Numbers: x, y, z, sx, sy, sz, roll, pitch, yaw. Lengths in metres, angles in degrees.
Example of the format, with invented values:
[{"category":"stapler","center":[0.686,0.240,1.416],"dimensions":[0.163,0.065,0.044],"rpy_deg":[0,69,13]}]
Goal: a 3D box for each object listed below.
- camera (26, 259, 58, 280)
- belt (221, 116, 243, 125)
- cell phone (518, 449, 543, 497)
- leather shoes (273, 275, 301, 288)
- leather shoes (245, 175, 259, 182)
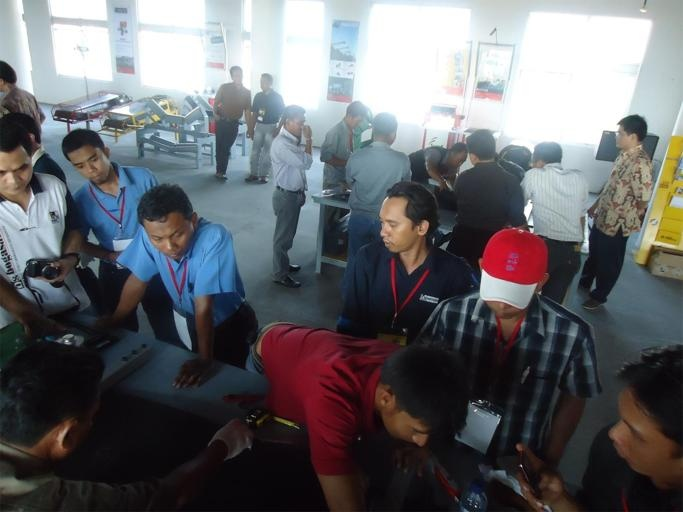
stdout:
[{"category":"camera","center":[-1.532,0.034,2.464],"dimensions":[0.145,0.092,0.100],"rpy_deg":[-3,12,-36]},{"category":"belt","center":[-1.719,-2.139,7.667],"dimensions":[0.331,0.102,0.325],"rpy_deg":[3,14,3]},{"category":"cell phone","center":[0.740,0.849,1.902],"dimensions":[0.030,0.121,0.128],"rpy_deg":[-29,20,28]},{"category":"leather shoes","center":[-0.530,0.233,4.725],"dimensions":[0.214,0.080,0.120],"rpy_deg":[6,23,18]},{"category":"leather shoes","center":[-1.434,-1.237,7.688],"dimensions":[0.200,0.085,0.079],"rpy_deg":[-6,22,-21]}]
